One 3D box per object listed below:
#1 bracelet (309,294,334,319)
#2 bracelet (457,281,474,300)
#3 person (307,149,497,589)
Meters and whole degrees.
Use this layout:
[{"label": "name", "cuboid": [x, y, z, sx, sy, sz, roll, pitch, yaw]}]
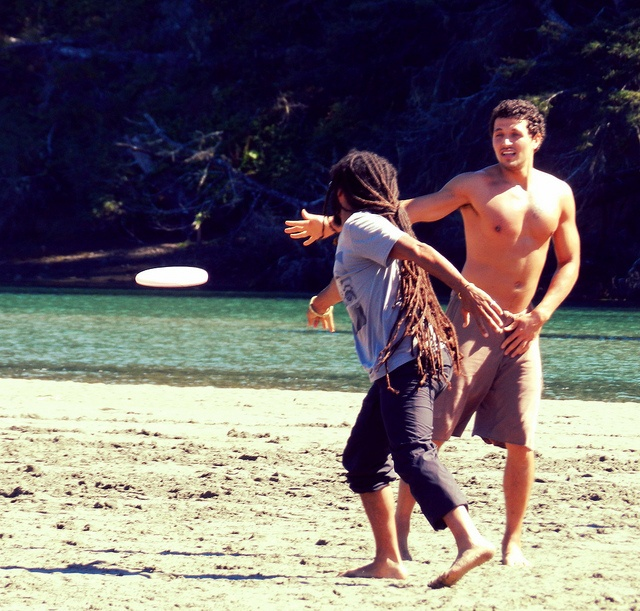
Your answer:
[{"label": "bracelet", "cuboid": [0.004, 0.012, 7.466, 0.143, 0.133, 0.067, -1, -4, 4]}, {"label": "bracelet", "cuboid": [0.812, -0.082, 6.708, 0.095, 0.090, 0.037, -1, 34, -23]}, {"label": "person", "cuboid": [0.505, 0.362, 6.881, 0.619, 2.439, 1.330, -4, 10, -32]}]
